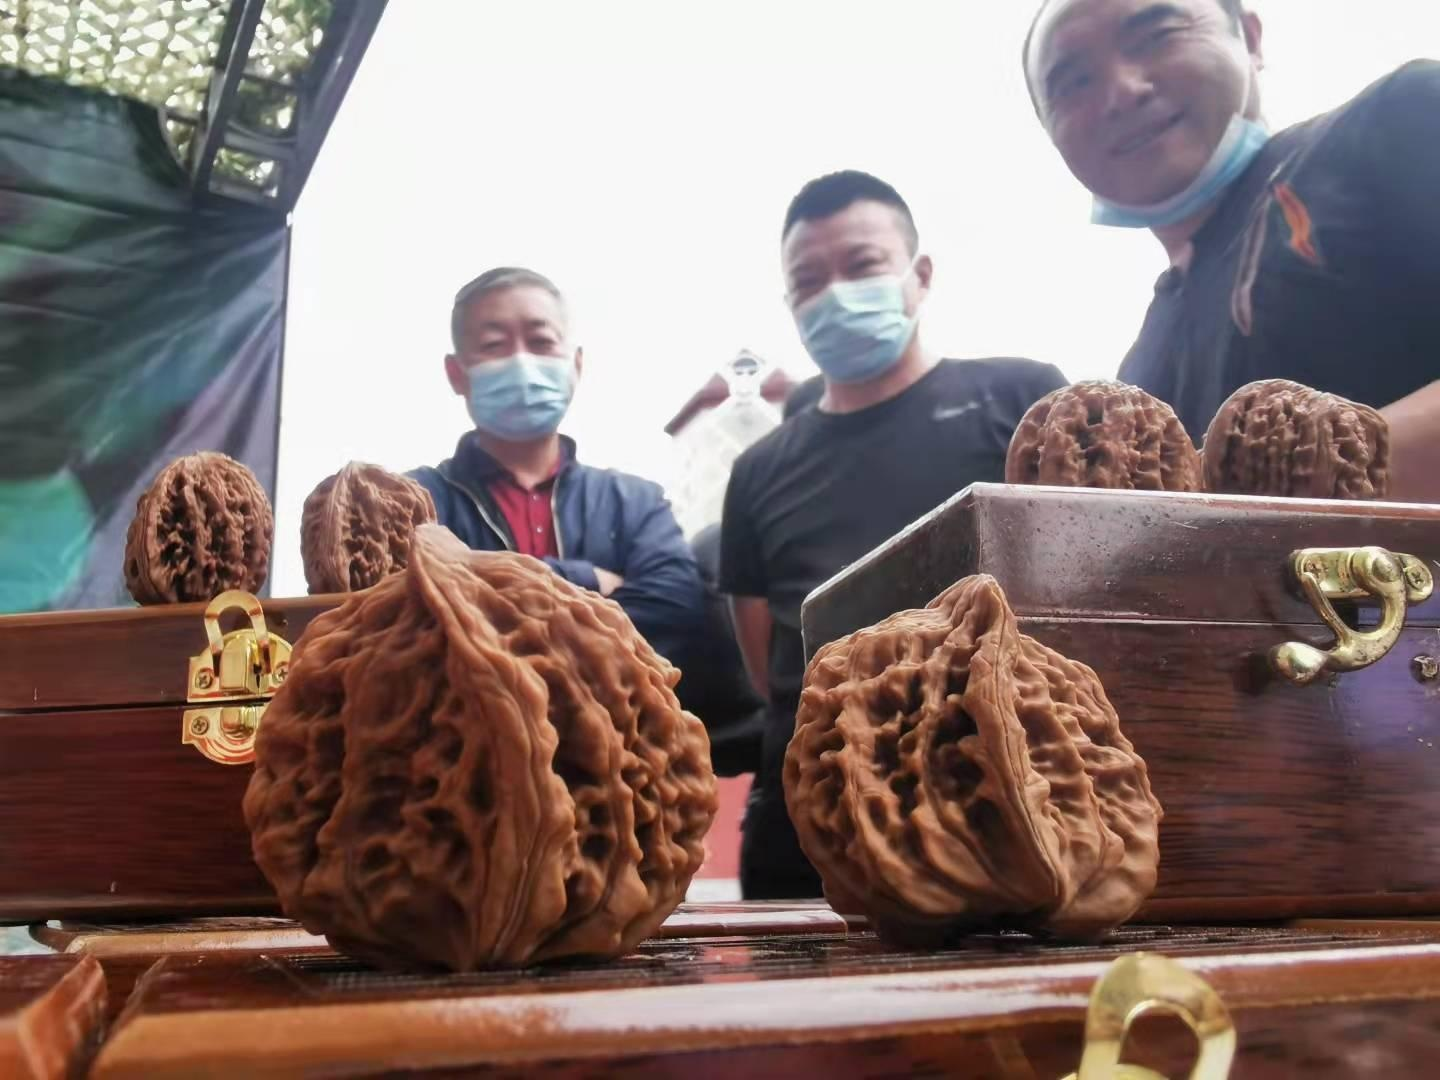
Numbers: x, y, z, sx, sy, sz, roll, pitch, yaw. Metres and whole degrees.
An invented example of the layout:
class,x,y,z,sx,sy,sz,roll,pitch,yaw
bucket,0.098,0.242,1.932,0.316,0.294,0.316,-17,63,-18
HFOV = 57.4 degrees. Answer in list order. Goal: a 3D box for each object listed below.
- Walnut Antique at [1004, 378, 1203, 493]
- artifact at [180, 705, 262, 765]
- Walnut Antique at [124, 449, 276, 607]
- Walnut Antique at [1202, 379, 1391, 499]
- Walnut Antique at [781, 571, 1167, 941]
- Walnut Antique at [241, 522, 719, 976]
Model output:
class,x,y,z,sx,sy,sz,roll,pitch,yaw
Walnut Antique,0.654,-0.140,2.247,0.228,0.202,0.262,-43,-23,21
artifact,-0.759,0.297,2.016,0.134,0.098,0.031,-1,-16,-1
Walnut Antique,-0.884,-0.012,2.317,0.236,0.294,0.176,9,7,37
Walnut Antique,0.956,-0.124,2.201,0.227,0.245,0.218,6,1,-31
Walnut Antique,0.306,0.305,1.706,0.484,0.361,0.385,39,-28,-22
Walnut Antique,-0.267,0.225,1.455,0.507,0.460,0.161,-1,0,5
